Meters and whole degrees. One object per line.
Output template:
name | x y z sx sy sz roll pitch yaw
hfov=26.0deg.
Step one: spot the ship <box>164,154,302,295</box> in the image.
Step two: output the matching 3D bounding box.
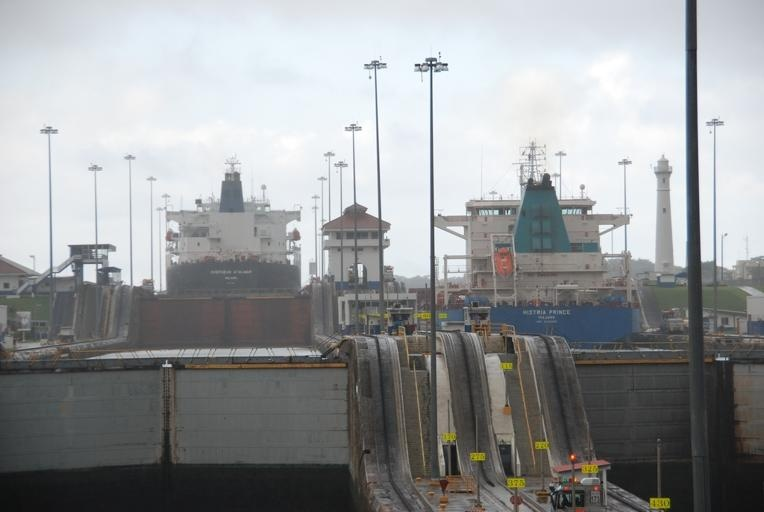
ship | -14.319 -2.757 159.061 12.283 13.373 19.162 -1 -1 -6
